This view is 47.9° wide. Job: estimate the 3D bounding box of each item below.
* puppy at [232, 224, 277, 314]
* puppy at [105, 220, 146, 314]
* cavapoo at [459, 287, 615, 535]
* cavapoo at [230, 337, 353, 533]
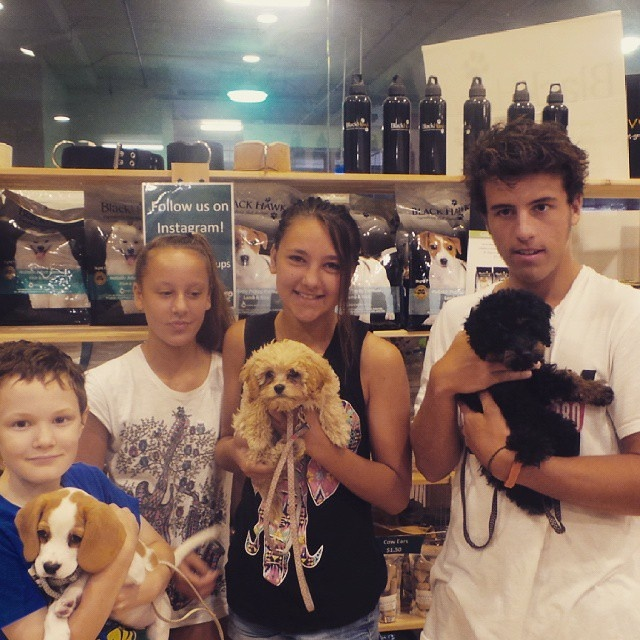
[{"bbox_3d":[-0.225,-0.160,2.650,0.129,0.400,0.191,-12,10,-7],"label":"puppy"},{"bbox_3d":[-0.685,-0.184,2.494,0.187,0.333,0.083,0,1,-14],"label":"puppy"},{"bbox_3d":[0.513,0.176,1.719,0.400,0.539,0.215,-20,-36,21],"label":"cavapoo"},{"bbox_3d":[-0.080,0.212,1.709,0.245,0.263,0.319,-10,-12,-3],"label":"cavapoo"}]
